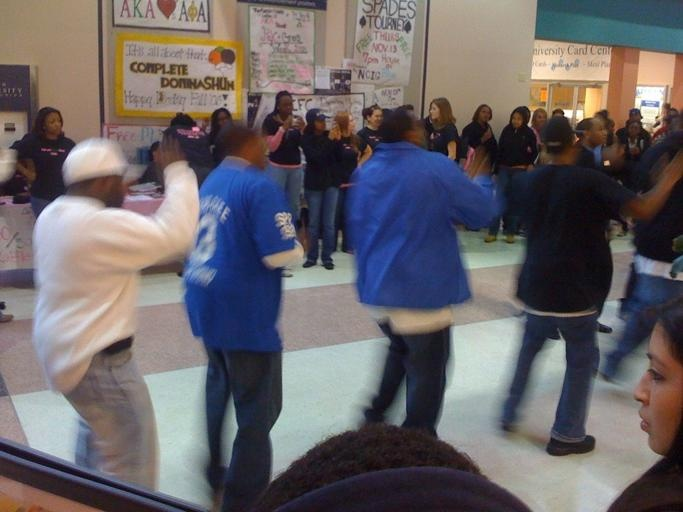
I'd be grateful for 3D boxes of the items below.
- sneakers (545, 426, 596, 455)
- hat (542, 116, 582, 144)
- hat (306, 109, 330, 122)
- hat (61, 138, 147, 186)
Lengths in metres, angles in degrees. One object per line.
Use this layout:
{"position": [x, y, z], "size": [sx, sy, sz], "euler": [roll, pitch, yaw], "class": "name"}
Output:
{"position": [1.466, 1.207, 3.420], "size": [0.292, 0.196, 0.121], "euler": [-9, 16, -14], "class": "sneakers"}
{"position": [1.268, -0.739, 3.086], "size": [0.145, 0.103, 0.203], "euler": [-4, 27, 20], "class": "hat"}
{"position": [-0.257, -1.906, 7.233], "size": [0.420, 0.226, 0.300], "euler": [-4, 15, -13], "class": "hat"}
{"position": [-0.947, -0.368, 2.131], "size": [0.281, 0.152, 0.179], "euler": [-18, 25, -36], "class": "hat"}
